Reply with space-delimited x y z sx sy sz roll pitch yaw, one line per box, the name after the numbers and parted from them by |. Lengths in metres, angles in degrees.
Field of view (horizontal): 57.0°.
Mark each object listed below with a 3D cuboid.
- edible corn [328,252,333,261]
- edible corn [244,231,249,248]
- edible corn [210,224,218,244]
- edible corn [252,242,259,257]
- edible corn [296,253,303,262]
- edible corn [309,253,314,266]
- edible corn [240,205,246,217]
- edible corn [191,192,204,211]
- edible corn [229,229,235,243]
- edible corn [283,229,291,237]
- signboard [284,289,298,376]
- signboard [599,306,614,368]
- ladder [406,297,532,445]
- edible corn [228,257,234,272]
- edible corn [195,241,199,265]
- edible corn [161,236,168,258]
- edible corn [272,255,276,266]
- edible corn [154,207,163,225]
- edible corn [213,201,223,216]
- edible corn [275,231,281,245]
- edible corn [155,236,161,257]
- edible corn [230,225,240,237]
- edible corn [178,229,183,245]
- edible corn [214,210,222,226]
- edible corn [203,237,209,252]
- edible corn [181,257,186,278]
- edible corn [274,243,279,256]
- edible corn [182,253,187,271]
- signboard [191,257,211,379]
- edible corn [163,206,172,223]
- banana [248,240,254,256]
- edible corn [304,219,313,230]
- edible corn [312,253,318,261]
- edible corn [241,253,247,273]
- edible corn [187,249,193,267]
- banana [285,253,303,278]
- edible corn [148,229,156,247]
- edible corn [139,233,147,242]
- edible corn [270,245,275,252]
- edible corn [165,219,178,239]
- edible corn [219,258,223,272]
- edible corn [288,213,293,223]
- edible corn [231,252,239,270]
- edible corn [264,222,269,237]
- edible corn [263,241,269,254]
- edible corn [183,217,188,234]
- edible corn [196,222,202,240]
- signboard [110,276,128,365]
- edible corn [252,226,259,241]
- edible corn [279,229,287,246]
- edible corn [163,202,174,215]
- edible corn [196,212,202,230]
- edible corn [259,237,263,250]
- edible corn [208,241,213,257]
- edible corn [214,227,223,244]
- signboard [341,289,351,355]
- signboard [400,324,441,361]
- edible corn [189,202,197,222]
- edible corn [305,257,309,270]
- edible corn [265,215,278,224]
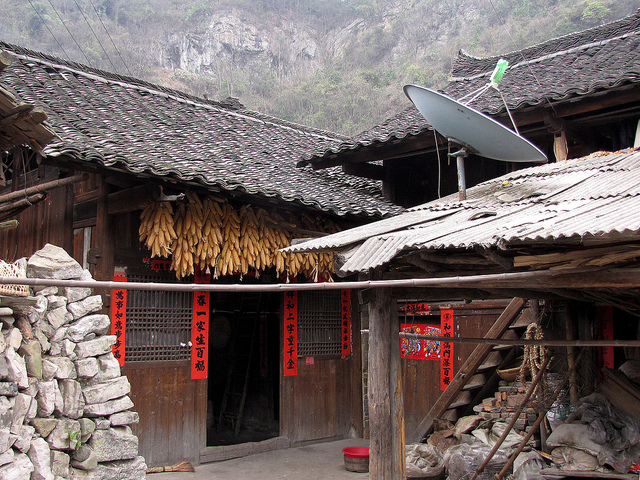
0.198 0.294 10.138 0.047 0.142 0.104 4 -2 1 | edible corn
-1.147 0.003 9.315 0.089 0.233 0.029 7 -14 -41 | edible corn
-1.607 -0.079 8.966 0.064 0.282 0.071 -21 -6 -11 | edible corn
-1.008 0.170 9.383 0.042 0.184 0.046 -21 3 24 | edible corn
-0.329 0.300 9.822 0.040 0.135 0.132 -9 -12 32 | edible corn
-0.124 0.338 10.011 0.056 0.198 0.132 -5 -11 17 | edible corn
-1.220 -0.470 9.382 0.090 0.277 0.031 7 -49 0 | edible corn
-1.830 -0.571 8.937 0.080 0.303 0.051 -41 27 -23 | edible corn
-1.353 -0.054 9.155 0.051 0.224 0.036 -10 -7 -18 | edible corn
-0.538 -0.105 9.812 0.027 0.046 0.185 3 -41 41 | edible corn
-0.493 1.640 10.266 0.262 1.430 0.280 -1 -10 -5 | signboard
4.194 1.469 8.630 0.086 1.112 0.220 26 -25 -37 | signboard
2.396 2.045 9.178 1.818 2.137 0.690 -5 -11 13 | ladder
-1.376 0.383 9.190 0.082 0.204 0.141 -4 -11 13 | edible corn
-1.840 0.210 8.902 0.048 0.261 0.065 0 -7 0 | edible corn
-2.275 0.144 8.645 0.059 0.270 0.071 9 31 9 | edible corn
-0.737 0.325 9.633 0.050 0.142 0.049 -3 -11 7 | edible corn
-2.350 -0.348 8.581 0.056 0.277 0.030 22 -32 -8 | edible corn
-1.561 -0.476 9.100 0.068 0.290 0.068 -25 10 10 | edible corn
-0.683 -0.008 9.694 0.077 0.178 0.009 3 -11 -23 | edible corn
-2.333 0.095 8.543 0.052 0.263 0.067 -5 0 16 | edible corn
-1.317 -0.138 9.200 0.057 0.212 0.016 -35 6 -33 | edible corn
-2.060 -0.003 8.728 0.039 0.147 0.035 8 -5 -7 | edible corn
-1.565 -0.323 9.048 0.070 0.349 0.036 -25 -31 -9 | edible corn
-1.717 0.077 8.914 0.086 0.201 0.026 6 -13 -38 | edible corn
-2.037 0.464 8.807 0.046 0.196 0.050 -14 -8 15 | edible corn
-0.693 0.163 9.597 0.033 0.140 0.079 9 -19 -15 | edible corn
-2.001 0.360 8.762 0.043 0.199 0.051 -7 -16 -11 | edible corn
-1.837 1.273 9.161 0.291 1.753 0.506 1 -11 -13 | signboard
-2.234 -0.364 8.657 0.071 0.314 0.031 -17 -18 -29 | edible corn
-1.090 0.136 9.331 0.070 0.268 0.043 -16 -55 -2 | banana
-0.183 -0.263 10.124 0.054 0.229 0.037 -40 7 -41 | edible corn
-0.071 0.292 10.047 0.033 0.113 0.069 -29 -27 30 | edible corn
-1.186 0.377 9.286 0.053 0.267 0.085 -2 -7 27 | edible corn
-1.928 0.284 8.777 0.053 0.241 0.056 -2 -9 -11 | edible corn
-0.422 0.430 9.769 0.238 0.356 0.129 1 7 -27 | banana
-2.418 -0.018 8.516 0.051 0.225 0.080 25 -30 -15 | edible corn
-2.572 -0.035 8.599 0.052 0.088 0.160 6 -10 -11 | edible corn
-0.769 0.146 9.614 0.052 0.115 0.027 -1 -11 -7 | edible corn
-2.172 -0.140 8.615 0.077 0.344 0.083 -28 -7 -15 | edible corn
-1.524 0.394 9.099 0.052 0.195 0.042 8 -2 -25 | edible corn
-0.477 -0.361 9.946 0.073 0.101 0.023 13 -14 -14 | edible corn
-1.326 0.355 9.224 0.052 0.313 0.077 -20 2 34 | edible corn
-0.859 -0.148 9.579 0.021 0.213 0.092 -12 -14 42 | edible corn
-0.872 0.134 9.523 0.040 0.201 0.050 -14 -15 -29 | edible corn
-1.992 -0.170 8.761 0.065 0.171 0.027 2 -11 -22 | edible corn
-1.797 -0.112 8.830 0.053 0.224 0.056 -16 -7 -13 | edible corn
-2.894 1.258 8.484 0.226 1.061 0.229 2 -11 -19 | signboard
-1.024 -0.088 9.419 0.061 0.256 0.064 -22 -3 -25 | edible corn
-0.604 -0.033 9.746 0.070 0.267 0.038 -15 6 -31 | edible corn
-2.207 -0.466 8.698 0.054 0.256 0.064 -31 14 -11 | edible corn
-1.814 -0.267 8.857 0.038 0.132 0.143 -1 33 19 | edible corn
-0.947 0.072 9.472 0.051 0.212 0.047 -1 -32 -7 | edible corn
-1.658 0.160 8.957 0.074 0.204 0.048 2 -11 -21 | edible corn
-1.549 -0.076 9.032 0.067 0.288 0.077 -21 -7 -23 | edible corn
0.502 1.546 11.043 0.169 1.181 0.299 -6 -11 21 | signboard
1.770 1.765 10.221 0.848 0.607 0.016 4 -9 -17 | signboard
-1.892 -0.426 8.853 0.076 0.320 0.015 -5 -19 -24 | edible corn
-0.208 0.392 9.943 0.065 0.158 0.039 1 -11 -14 | edible corn
-0.798 -0.328 9.671 0.288 0.064 0.040 37 -46 -24 | edible corn
